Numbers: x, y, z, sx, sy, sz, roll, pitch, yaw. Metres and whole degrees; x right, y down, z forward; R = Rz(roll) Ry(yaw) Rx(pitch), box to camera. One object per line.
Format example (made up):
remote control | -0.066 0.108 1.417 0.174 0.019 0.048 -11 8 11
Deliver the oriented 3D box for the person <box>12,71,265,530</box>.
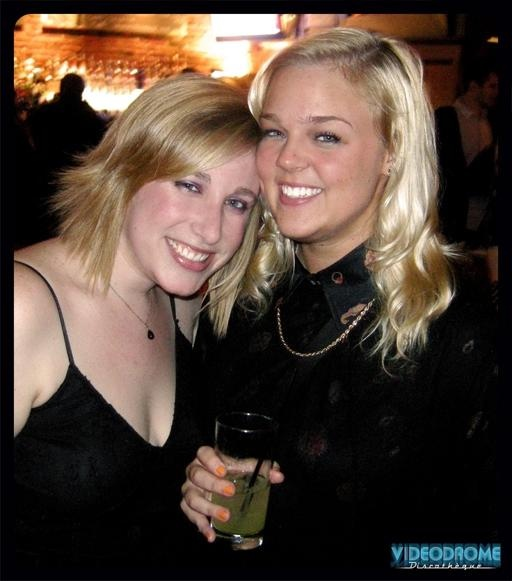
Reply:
person | -0.485 0.021 1.999 0.606 1.515 0.958 17 28 33
